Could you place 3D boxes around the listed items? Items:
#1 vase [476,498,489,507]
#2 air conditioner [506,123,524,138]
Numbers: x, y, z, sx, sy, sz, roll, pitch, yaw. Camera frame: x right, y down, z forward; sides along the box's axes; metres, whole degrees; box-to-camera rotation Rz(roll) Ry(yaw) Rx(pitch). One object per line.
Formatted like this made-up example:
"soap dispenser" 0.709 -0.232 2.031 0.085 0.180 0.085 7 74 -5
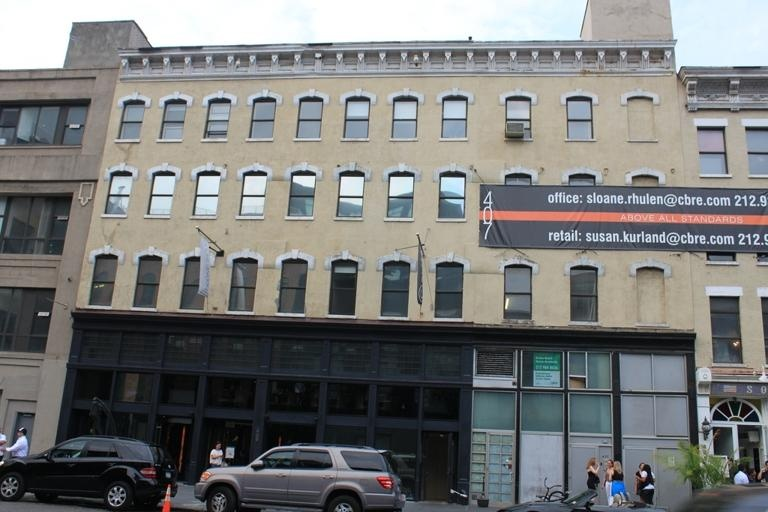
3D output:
"vase" 4.516 11.329 39.454 0.521 0.445 0.535 -2 -19 8
"air conditioner" 6.423 -6.272 42.387 0.846 0.660 0.803 -1 -18 5
